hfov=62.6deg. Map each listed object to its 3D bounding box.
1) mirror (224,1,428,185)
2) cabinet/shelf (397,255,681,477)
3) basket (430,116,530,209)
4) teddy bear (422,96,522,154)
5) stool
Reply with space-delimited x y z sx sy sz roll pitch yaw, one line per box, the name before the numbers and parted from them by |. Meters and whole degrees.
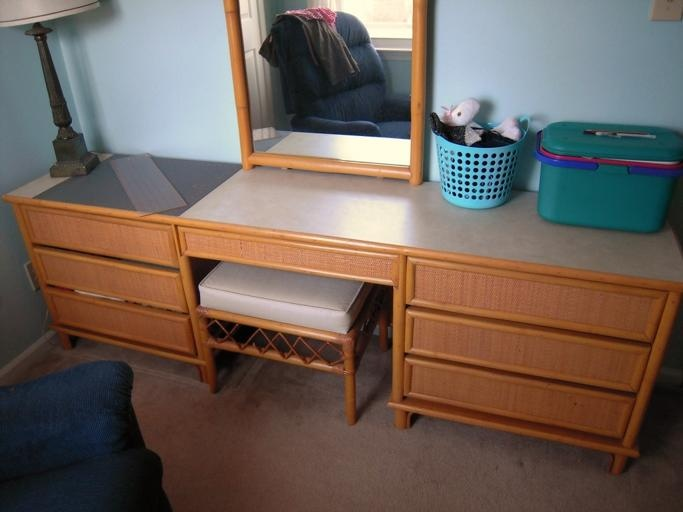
mirror | -0.033 -0.634 2.102 0.670 0.771 0.054 7 38 13
cabinet/shelf | 0.658 0.364 1.899 0.606 0.568 0.376 9 29 20
basket | 0.488 -0.309 2.099 0.358 0.314 0.319 0 25 1
teddy bear | 0.464 -0.447 1.958 0.267 0.116 0.195 20 34 7
stool | -0.197 0.262 2.336 0.647 0.524 0.507 5 30 11
